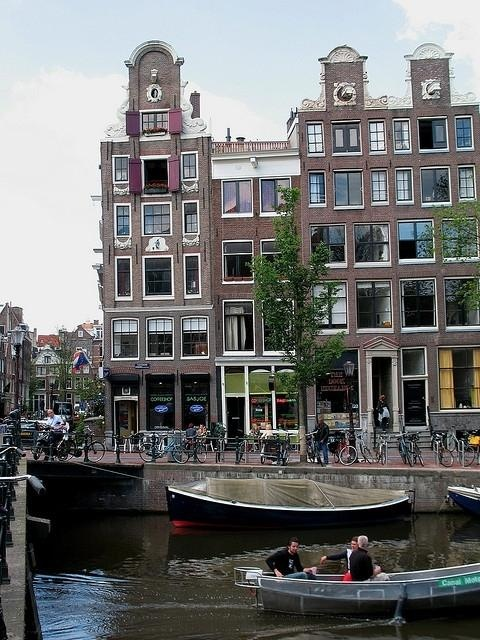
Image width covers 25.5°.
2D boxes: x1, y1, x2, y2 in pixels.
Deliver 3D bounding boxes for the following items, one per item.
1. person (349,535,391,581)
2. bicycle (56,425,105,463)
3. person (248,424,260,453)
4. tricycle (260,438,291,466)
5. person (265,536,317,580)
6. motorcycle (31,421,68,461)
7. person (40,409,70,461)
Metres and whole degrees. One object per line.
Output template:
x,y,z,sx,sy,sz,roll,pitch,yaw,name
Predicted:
2.528,5.017,21.568,0.517,1.174,0.672,3,-4,44,person
-5.072,4.070,34.218,1.834,1.128,0.897,9,-20,-43,bicycle
0.526,4.306,38.291,0.637,1.368,0.445,0,-4,-2,person
1.122,4.093,33.204,0.641,0.656,0.886,1,0,11,tricycle
1.067,5.034,21.773,0.991,1.159,0.690,4,-12,13,person
-5.830,3.924,33.655,0.735,0.885,1.441,-9,-16,35,motorcycle
-5.924,3.735,34.025,0.819,0.949,1.531,-3,-18,8,person
